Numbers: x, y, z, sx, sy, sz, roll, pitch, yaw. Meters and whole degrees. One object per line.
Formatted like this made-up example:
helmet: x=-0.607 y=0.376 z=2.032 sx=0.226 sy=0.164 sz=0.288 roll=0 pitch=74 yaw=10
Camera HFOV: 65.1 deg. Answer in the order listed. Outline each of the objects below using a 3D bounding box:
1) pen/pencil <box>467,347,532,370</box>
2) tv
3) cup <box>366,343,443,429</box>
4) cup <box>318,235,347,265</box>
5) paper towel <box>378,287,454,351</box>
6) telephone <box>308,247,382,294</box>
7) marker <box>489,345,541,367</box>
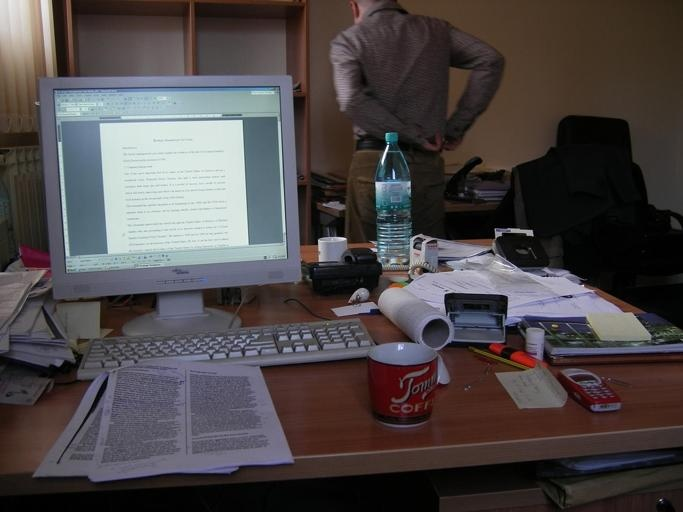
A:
pen/pencil: x=0.305 y=0.200 z=1.035 sx=0.112 sy=0.017 sz=0.015 roll=15 pitch=5 yaw=24
tv: x=-0.375 y=-0.114 z=1.157 sx=0.655 sy=0.570 sz=0.205 roll=-2 pitch=7 yaw=-11
cup: x=0.093 y=0.211 z=0.885 sx=0.142 sy=0.090 sz=0.102 roll=-3 pitch=14 yaw=-13
cup: x=-0.030 y=-0.017 z=1.564 sx=0.082 sy=0.068 sz=0.072 roll=-5 pitch=15 yaw=-20
paper towel: x=0.152 y=0.128 z=1.165 sx=0.087 sy=0.069 sz=0.215 roll=-19 pitch=19 yaw=-13
telephone: x=0.010 y=0.047 z=1.420 sx=0.146 sy=0.083 sz=0.144 roll=0 pitch=9 yaw=-8
marker: x=0.331 y=0.193 z=1.031 sx=0.029 sy=0.015 sz=0.094 roll=-14 pitch=20 yaw=-35
